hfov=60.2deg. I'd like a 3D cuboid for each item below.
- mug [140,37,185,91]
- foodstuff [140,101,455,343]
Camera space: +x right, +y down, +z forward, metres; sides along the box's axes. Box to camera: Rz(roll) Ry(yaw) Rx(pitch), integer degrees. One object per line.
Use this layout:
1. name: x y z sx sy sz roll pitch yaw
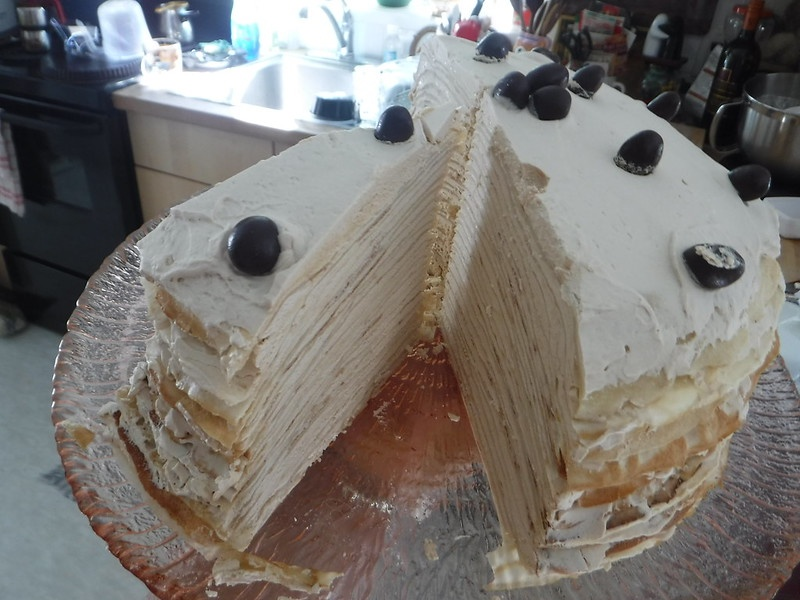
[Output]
1. mug: -1.066 -1.050 3.047 0.155 0.249 0.263 12 25 20
2. foodstuff: -0.241 -0.232 1.884 0.534 0.338 1.039 14 42 9
